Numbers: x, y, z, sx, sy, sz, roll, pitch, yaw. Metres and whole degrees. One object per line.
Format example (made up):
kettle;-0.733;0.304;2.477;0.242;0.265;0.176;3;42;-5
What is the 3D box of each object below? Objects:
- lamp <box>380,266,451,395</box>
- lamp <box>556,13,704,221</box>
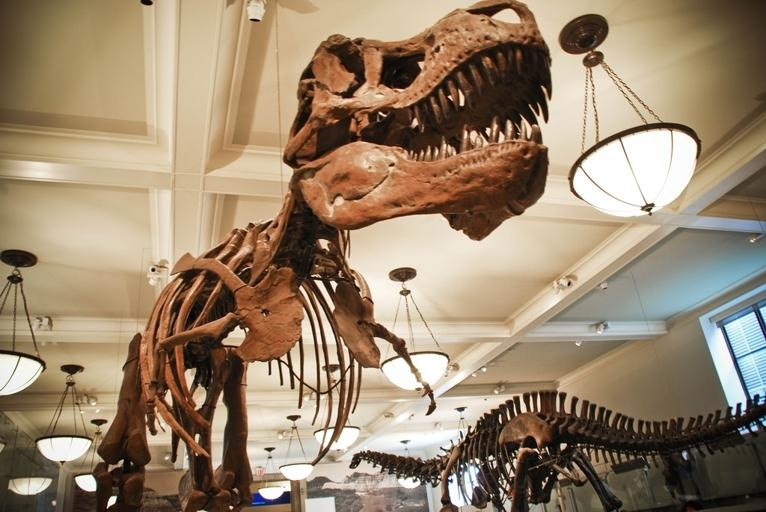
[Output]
lamp;0.399;0.975;7.750;0.866;1.599;0.831;-11;-4;38
lamp;2.443;-1.560;5.786;1.322;2.340;1.284;-16;-25;19
